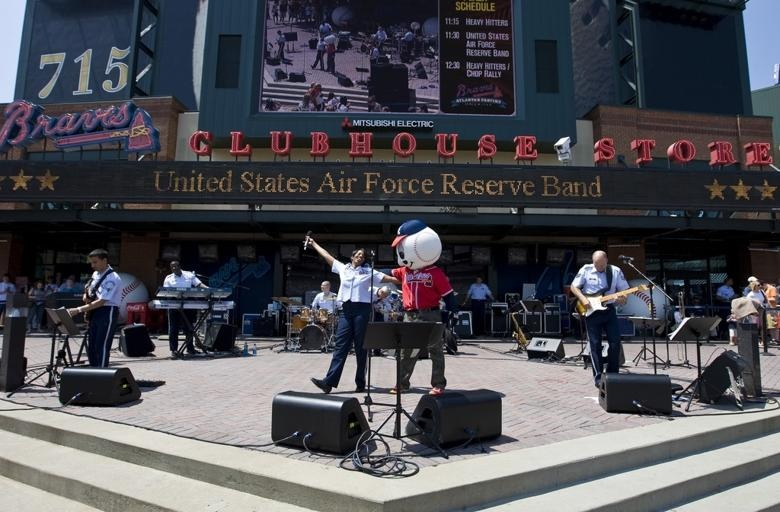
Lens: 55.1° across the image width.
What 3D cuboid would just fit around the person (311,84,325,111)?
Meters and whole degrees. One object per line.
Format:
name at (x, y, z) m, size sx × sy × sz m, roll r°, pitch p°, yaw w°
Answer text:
person at (-3.009, -6.519, 30.563) m, size 0.553 × 1.048 × 0.435 m, roll -1°, pitch 15°, yaw -7°

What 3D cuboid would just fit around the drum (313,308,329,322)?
drum at (-2.243, 1.933, 24.466) m, size 0.423 × 0.401 × 0.419 m, roll 2°, pitch 3°, yaw -3°

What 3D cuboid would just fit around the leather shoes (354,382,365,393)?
leather shoes at (-0.752, 3.369, 19.155) m, size 0.179 × 0.278 × 0.289 m, roll 0°, pitch -15°, yaw 5°

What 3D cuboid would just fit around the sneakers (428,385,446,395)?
sneakers at (1.173, 3.342, 18.573) m, size 0.257 × 0.175 × 0.439 m, roll -4°, pitch -16°, yaw 14°

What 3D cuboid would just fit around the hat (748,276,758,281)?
hat at (13.126, 0.796, 26.913) m, size 0.349 × 0.109 × 0.344 m, roll -3°, pitch 0°, yaw -20°

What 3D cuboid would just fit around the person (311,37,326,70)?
person at (-2.930, -8.361, 30.745) m, size 0.518 × 1.276 × 0.392 m, roll -1°, pitch 15°, yaw -7°

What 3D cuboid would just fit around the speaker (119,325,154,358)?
speaker at (-7.729, 2.603, 22.655) m, size 0.772 × 1.022 × 0.556 m, roll -4°, pitch -17°, yaw -41°

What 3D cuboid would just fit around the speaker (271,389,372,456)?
speaker at (-1.646, 3.820, 17.123) m, size 2.150 × 1.247 × 0.528 m, roll 3°, pitch 15°, yaw 8°

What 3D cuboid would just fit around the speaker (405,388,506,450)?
speaker at (1.397, 3.539, 17.638) m, size 1.802 × 0.977 × 1.368 m, roll 4°, pitch -7°, yaw -25°

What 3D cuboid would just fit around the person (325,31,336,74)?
person at (-2.408, -8.367, 30.768) m, size 0.479 × 1.640 × 0.540 m, roll -1°, pitch 14°, yaw -7°

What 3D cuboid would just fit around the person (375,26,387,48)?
person at (-0.339, -9.073, 30.881) m, size 0.475 × 0.827 × 0.353 m, roll 0°, pitch 14°, yaw -2°

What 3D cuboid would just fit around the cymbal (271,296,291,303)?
cymbal at (-3.765, 1.492, 25.897) m, size 0.422 × 0.126 × 0.436 m, roll 10°, pitch -9°, yaw 8°

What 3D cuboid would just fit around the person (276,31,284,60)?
person at (-4.483, -8.692, 30.813) m, size 0.327 × 1.156 × 0.430 m, roll -1°, pitch 15°, yaw -8°

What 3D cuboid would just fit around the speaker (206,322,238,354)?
speaker at (-5.495, 2.503, 23.945) m, size 0.845 × 1.124 × 1.160 m, roll 7°, pitch -7°, yaw -30°

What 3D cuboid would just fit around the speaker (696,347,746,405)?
speaker at (8.462, 3.045, 18.907) m, size 1.070 × 1.249 × 0.736 m, roll 8°, pitch 16°, yaw 24°

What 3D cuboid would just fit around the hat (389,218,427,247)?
hat at (0.425, -0.684, 19.241) m, size 0.957 × 0.483 × 0.578 m, roll -27°, pitch 17°, yaw 1°

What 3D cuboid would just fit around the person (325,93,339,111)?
person at (-2.369, -6.345, 30.565) m, size 0.603 × 0.720 × 0.351 m, roll -2°, pitch 15°, yaw -11°

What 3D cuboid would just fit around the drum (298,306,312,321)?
drum at (-2.807, 1.896, 24.637) m, size 0.422 × 0.419 × 0.427 m, roll 1°, pitch -5°, yaw 39°

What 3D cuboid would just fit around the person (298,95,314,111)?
person at (-3.336, -6.297, 30.556) m, size 0.717 × 0.633 × 0.297 m, roll -1°, pitch 15°, yaw -7°

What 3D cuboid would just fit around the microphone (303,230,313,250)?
microphone at (-2.577, -0.532, 23.488) m, size 0.204 × 0.716 × 0.217 m, roll 20°, pitch -20°, yaw -5°

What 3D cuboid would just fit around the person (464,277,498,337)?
person at (3.470, 1.980, 28.929) m, size 1.019 × 2.453 × 1.262 m, roll 4°, pitch 15°, yaw 12°

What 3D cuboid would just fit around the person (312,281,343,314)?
person at (-2.125, 1.370, 25.072) m, size 1.205 × 1.480 × 0.960 m, roll 0°, pitch -8°, yaw -7°
